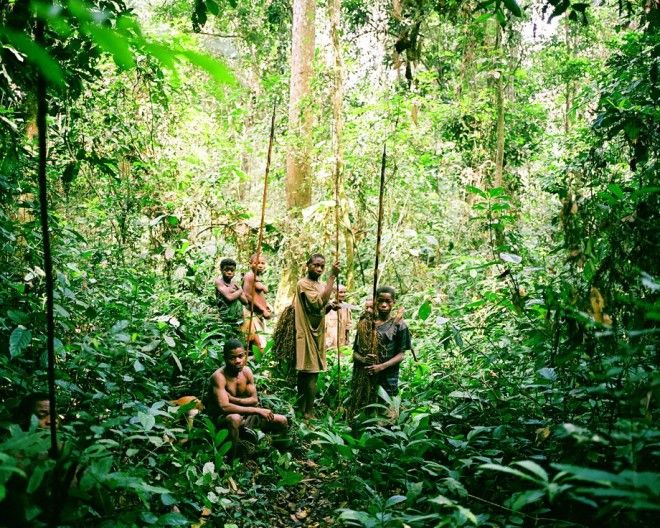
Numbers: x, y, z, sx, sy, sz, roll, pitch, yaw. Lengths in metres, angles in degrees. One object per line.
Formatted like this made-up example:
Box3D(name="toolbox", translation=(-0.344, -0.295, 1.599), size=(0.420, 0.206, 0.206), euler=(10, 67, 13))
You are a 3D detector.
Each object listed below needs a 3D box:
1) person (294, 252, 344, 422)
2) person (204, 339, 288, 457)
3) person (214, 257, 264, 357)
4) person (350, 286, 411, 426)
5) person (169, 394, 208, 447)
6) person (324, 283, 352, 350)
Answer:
Box3D(name="person", translation=(-0.168, 0.690, 6.619), size=(0.351, 1.609, 0.567), euler=(2, -7, -3))
Box3D(name="person", translation=(-0.714, 1.129, 5.885), size=(0.368, 0.929, 0.663), euler=(-4, -9, 41))
Box3D(name="person", translation=(-1.057, 0.471, 7.689), size=(0.434, 1.254, 0.341), euler=(2, 17, 0))
Box3D(name="person", translation=(0.420, 0.770, 6.078), size=(0.524, 1.167, 0.479), euler=(7, -9, -38))
Box3D(name="person", translation=(-1.148, 1.242, 5.440), size=(0.245, 0.368, 1.295), euler=(3, -8, -10))
Box3D(name="person", translation=(0.134, 0.718, 8.470), size=(0.291, 0.772, 0.287), euler=(4, 19, 12))
